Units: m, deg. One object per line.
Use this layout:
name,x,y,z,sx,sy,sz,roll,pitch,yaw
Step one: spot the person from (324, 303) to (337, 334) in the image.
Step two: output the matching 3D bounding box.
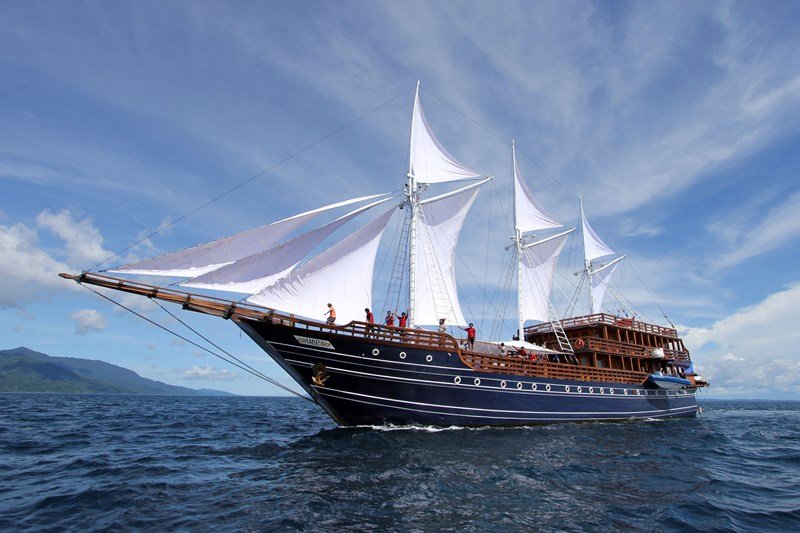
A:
person,-4.169,2.848,27.409,0.665,1.538,1.307,2,-7,-9
